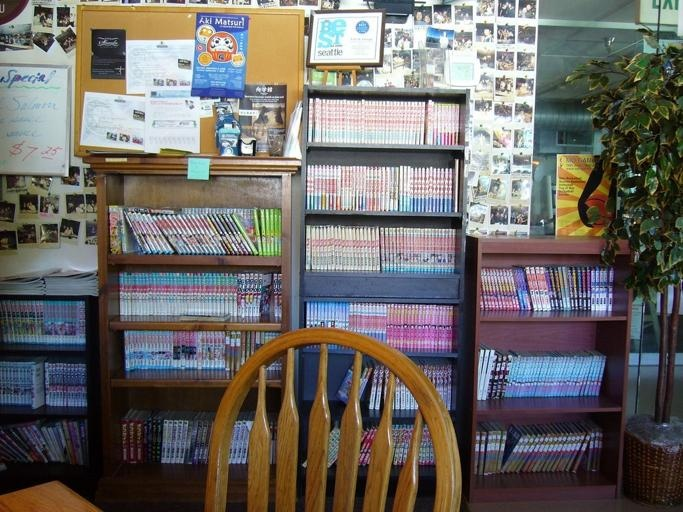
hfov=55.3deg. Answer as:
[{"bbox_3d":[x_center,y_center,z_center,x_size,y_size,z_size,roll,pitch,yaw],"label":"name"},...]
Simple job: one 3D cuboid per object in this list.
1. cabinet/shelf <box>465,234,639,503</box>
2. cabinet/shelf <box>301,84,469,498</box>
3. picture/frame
[{"bbox_3d":[1.204,0.702,3.941,0.886,1.459,0.478,-1,2,6],"label":"cabinet/shelf"},{"bbox_3d":[0.410,0.192,3.748,1.052,2.506,0.543,6,19,43],"label":"cabinet/shelf"},{"bbox_3d":[0.038,-1.234,3.727,0.341,0.250,0.036,0,-8,6],"label":"picture/frame"}]
